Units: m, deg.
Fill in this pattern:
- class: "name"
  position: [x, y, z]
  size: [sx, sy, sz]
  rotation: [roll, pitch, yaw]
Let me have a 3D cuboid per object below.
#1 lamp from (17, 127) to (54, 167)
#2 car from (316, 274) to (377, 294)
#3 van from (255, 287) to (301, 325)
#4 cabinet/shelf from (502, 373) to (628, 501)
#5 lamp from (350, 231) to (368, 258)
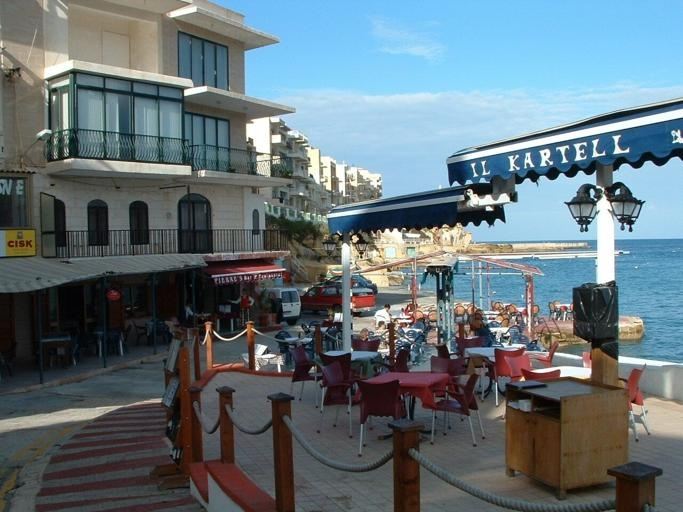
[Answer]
- class: "lamp"
  position: [-11.563, -4.162, 26.497]
  size: [0.716, 1.534, 1.384]
  rotation: [-2, 1, 30]
- class: "car"
  position: [1.006, 1.676, 43.677]
  size: [3.704, 1.217, 1.670]
  rotation: [2, -1, -18]
- class: "van"
  position: [-2.940, 2.416, 34.358]
  size: [1.367, 1.308, 2.322]
  rotation: [-3, 6, -37]
- class: "cabinet/shelf"
  position: [3.358, 2.687, 10.488]
  size: [1.543, 1.291, 1.562]
  rotation: [3, -5, -35]
- class: "lamp"
  position: [0.495, -0.281, 17.881]
  size: [0.621, 0.921, 0.622]
  rotation: [-1, -5, 1]
